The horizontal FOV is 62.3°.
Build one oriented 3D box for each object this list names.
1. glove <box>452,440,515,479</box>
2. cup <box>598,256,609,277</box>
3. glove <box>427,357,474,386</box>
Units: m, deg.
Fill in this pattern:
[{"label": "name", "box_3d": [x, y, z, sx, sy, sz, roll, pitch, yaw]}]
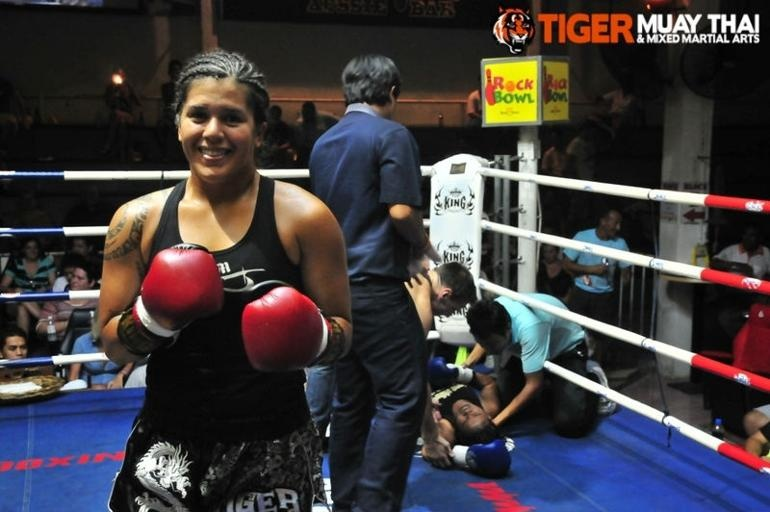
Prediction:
[{"label": "glove", "box_3d": [0.512, 1.044, 3.389, 0.258, 0.150, 0.194, -1, -4, 45]}, {"label": "cup", "box_3d": [2.201, 0.110, 6.442, 0.062, 0.200, 0.146, 5, 1, 7]}, {"label": "glove", "box_3d": [0.400, 0.718, 3.993, 0.278, 0.128, 0.200, 1, 47, -25]}]
